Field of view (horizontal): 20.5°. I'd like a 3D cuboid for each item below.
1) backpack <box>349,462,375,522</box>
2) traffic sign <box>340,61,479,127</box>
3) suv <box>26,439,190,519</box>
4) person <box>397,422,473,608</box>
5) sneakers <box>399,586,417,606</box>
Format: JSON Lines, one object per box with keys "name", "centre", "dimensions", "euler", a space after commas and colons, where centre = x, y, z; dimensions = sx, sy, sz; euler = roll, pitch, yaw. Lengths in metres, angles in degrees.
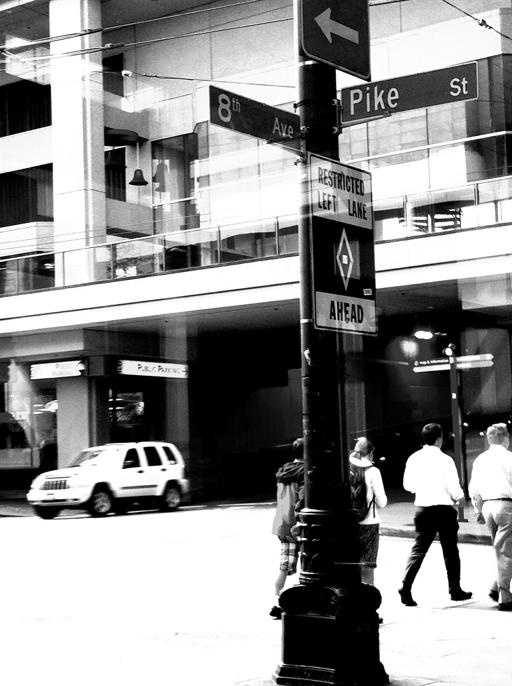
{"name": "backpack", "centre": [0.982, 1.399, 13.173], "dimensions": [0.185, 0.394, 0.406], "euler": [-3, -2, 4]}
{"name": "traffic sign", "centre": [1.186, -1.957, 11.093], "dimensions": [1.086, 0.355, 0.212], "euler": [-3, -2, 15]}
{"name": "suv", "centre": [-2.765, 2.593, 26.476], "dimensions": [1.282, 1.354, 3.035], "euler": [-4, -2, 38]}
{"name": "person", "centre": [1.744, 1.695, 14.009], "dimensions": [0.673, 1.361, 0.520], "euler": [-3, -1, 3]}
{"name": "sneakers", "centre": [1.488, 2.485, 13.857], "dimensions": [0.166, 0.134, 0.265], "euler": [-3, -2, 7]}
